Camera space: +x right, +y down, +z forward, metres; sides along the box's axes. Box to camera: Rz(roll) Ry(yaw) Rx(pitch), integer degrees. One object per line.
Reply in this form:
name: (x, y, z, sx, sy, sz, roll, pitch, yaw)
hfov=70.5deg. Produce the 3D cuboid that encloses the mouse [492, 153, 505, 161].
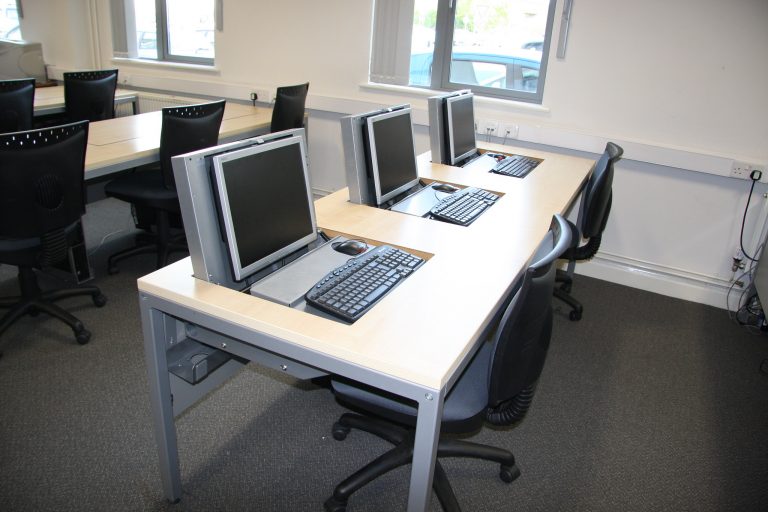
mouse: (0.864, -0.755, 4.102, 0.074, 0.025, 0.075, 24, 59, 35)

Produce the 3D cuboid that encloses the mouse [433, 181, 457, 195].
mouse: (0.378, -0.429, 3.397, 0.109, 0.031, 0.083, 12, 31, 21)

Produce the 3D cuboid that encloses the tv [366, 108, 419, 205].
tv: (0.039, -0.572, 3.157, 0.049, 0.494, 0.485, 3, 20, 28)

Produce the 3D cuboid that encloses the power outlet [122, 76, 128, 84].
power outlet: (-2.784, -1.915, 5.882, 0.049, 0.073, 0.021, 3, 8, 7)

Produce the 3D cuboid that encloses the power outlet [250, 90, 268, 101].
power outlet: (-1.204, -1.570, 5.315, 0.171, 0.099, 0.084, 2, 5, 4)

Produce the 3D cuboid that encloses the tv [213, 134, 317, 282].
tv: (-0.542, -0.205, 2.446, 0.052, 0.552, 0.543, 5, 21, 38)

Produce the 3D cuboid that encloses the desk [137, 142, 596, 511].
desk: (0.043, 0.343, 3.044, 1.394, 1.133, 2.479, 20, 34, 28)

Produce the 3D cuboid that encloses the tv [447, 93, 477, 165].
tv: (0.547, -0.910, 3.902, 0.045, 0.408, 0.462, 1, 19, 26)
